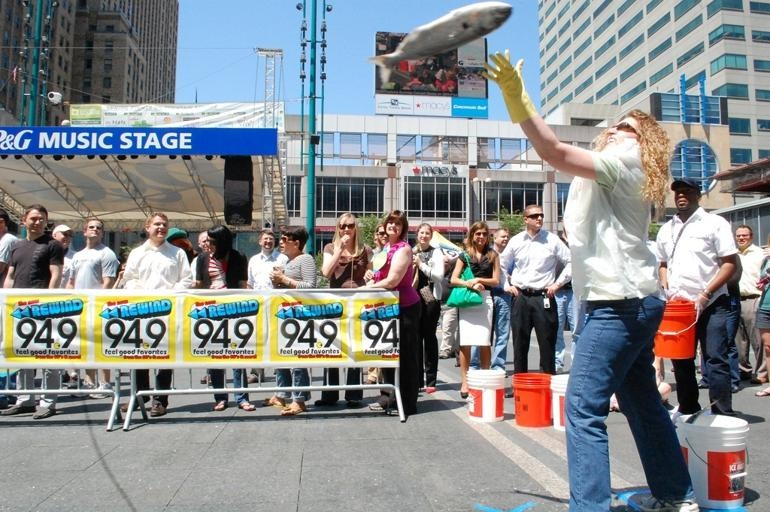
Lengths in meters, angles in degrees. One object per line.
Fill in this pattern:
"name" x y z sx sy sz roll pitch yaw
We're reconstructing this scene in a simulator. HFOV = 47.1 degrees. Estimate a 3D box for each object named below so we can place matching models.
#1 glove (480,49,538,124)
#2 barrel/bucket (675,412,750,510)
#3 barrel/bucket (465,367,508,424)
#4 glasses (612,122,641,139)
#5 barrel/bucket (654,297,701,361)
"glove" 1.441 -1.956 10.011 0.499 0.873 0.274 -37 22 -18
"barrel/bucket" 3.866 2.442 10.751 0.842 1.061 0.769 -1 2 0
"barrel/bucket" 1.446 1.990 12.824 0.477 0.751 0.470 1 0 0
"glasses" 2.829 -1.488 10.367 0.299 0.200 0.102 1 11 11
"barrel/bucket" 3.849 0.952 11.854 0.591 1.088 0.556 1 1 0
